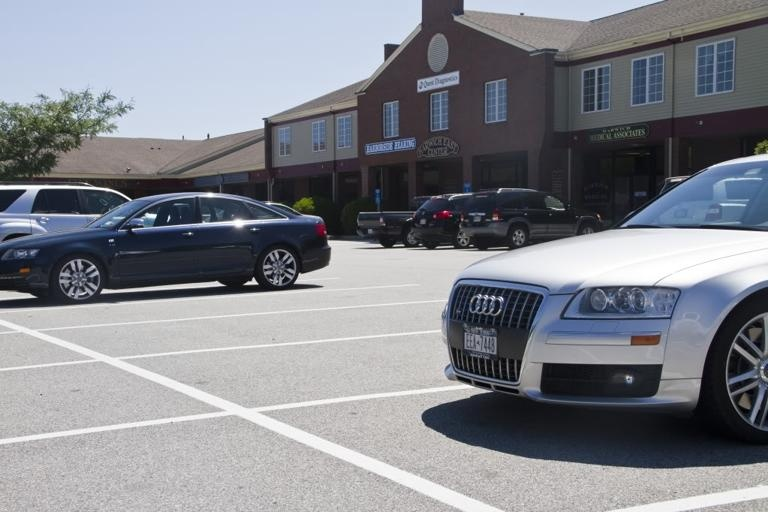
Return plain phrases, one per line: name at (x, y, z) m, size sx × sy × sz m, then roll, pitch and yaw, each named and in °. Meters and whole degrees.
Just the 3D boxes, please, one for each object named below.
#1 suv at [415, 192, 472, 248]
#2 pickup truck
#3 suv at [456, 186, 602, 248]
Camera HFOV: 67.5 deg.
suv at (2.463, -1.731, 26.389) m, size 3.376 × 1.447 × 1.562 m, roll -7°, pitch 8°, yaw -29°
pickup truck at (0.314, -1.691, 28.682) m, size 3.855 × 1.565 × 2.033 m, roll -5°, pitch 5°, yaw -27°
suv at (6.295, -1.860, 25.351) m, size 5.728 × 2.165 × 2.679 m, roll -5°, pitch 6°, yaw -20°
